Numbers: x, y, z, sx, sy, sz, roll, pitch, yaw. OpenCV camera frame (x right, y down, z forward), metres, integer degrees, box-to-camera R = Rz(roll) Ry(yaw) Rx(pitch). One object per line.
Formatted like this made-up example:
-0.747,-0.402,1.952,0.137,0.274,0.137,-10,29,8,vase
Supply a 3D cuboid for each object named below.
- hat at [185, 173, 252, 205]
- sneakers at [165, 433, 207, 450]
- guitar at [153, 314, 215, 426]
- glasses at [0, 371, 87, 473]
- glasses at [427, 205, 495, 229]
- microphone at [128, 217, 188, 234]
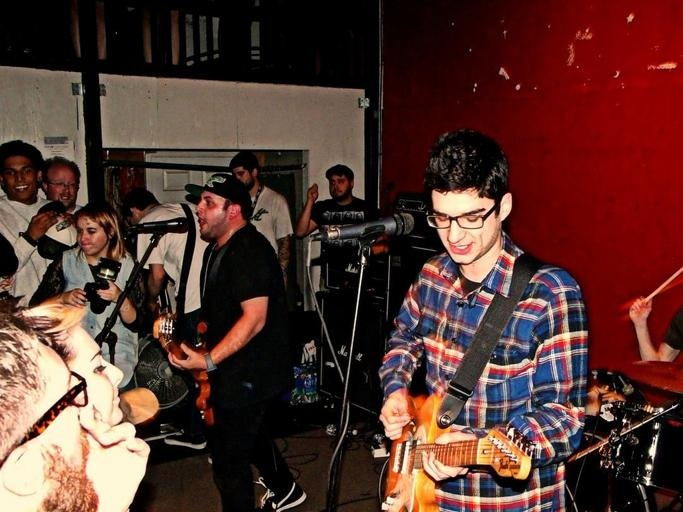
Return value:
-0.784,-0.435,3.898,0.404,0.237,0.271,8,3,-14,hat
-1.360,1.614,5.318,0.281,0.069,0.166,4,4,14,sneakers
-0.990,0.628,3.923,0.186,0.847,0.385,-5,-24,-45,guitar
-0.823,0.459,1.766,0.212,0.063,0.206,-49,17,-22,glasses
0.497,-0.162,2.544,0.290,0.120,0.111,6,10,16,glasses
-1.370,-0.224,4.577,0.423,0.122,0.259,0,10,-17,microphone
